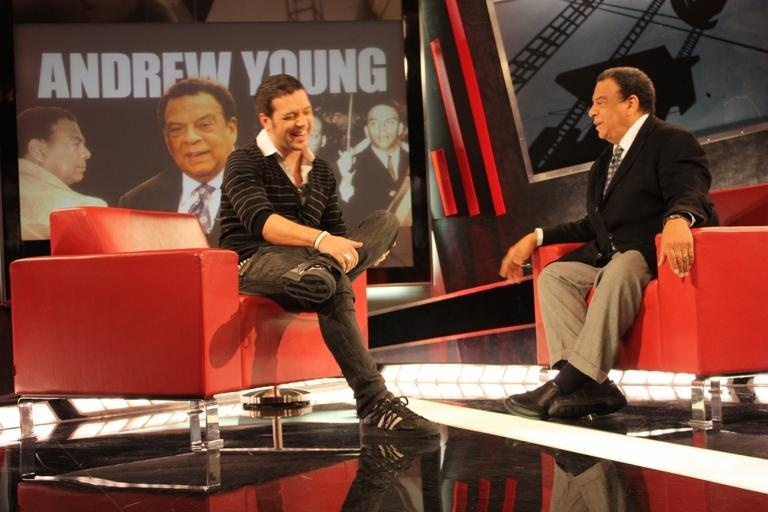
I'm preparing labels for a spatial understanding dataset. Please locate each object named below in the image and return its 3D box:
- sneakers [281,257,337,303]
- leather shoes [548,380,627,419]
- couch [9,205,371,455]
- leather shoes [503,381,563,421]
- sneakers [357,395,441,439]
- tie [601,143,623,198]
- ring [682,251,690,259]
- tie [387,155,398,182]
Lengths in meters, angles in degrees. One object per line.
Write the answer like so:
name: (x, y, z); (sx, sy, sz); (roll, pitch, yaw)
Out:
sneakers: (-0.295, 0.091, 3.226); (0.245, 0.127, 0.158); (-5, 18, -1)
leather shoes: (0.955, 0.678, 3.706); (0.450, 0.179, 0.146); (-3, -9, -18)
couch: (-0.862, 0.283, 3.932); (1.072, 0.997, 1.452); (-2, -3, 26)
leather shoes: (0.695, 0.674, 3.641); (0.259, 0.100, 0.129); (2, 6, -27)
sneakers: (0.055, 0.701, 3.403); (0.375, 0.156, 0.149); (0, -3, 17)
tie: (1.173, -0.442, 3.997); (0.077, 0.273, 0.040); (4, -11, 35)
ring: (1.324, -0.008, 3.411); (0.034, 0.024, 0.009); (-2, -4, -1)
tie: (0.060, -0.603, 5.196); (0.119, 0.150, 0.037); (-1, 5, 1)
